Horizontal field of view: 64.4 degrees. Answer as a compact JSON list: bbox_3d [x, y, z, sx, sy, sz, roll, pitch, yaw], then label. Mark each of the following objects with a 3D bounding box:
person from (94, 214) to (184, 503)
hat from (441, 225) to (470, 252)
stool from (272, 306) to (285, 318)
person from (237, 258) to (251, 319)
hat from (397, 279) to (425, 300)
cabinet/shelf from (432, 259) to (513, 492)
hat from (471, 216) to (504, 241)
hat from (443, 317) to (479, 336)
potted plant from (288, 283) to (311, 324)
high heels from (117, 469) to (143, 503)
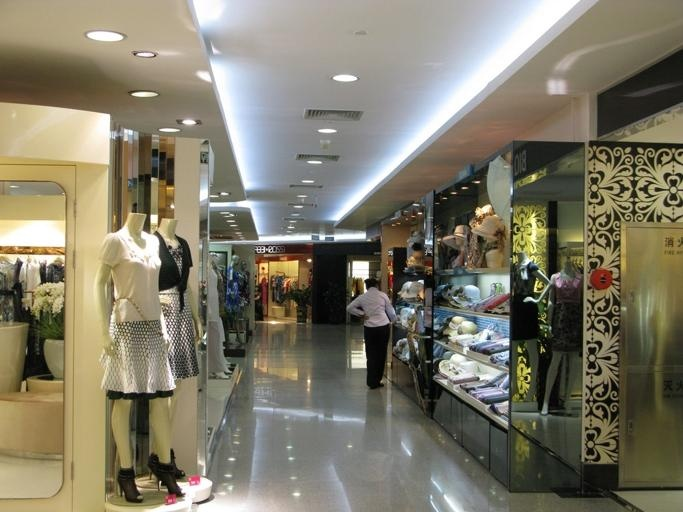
[{"bbox_3d":[-1.522,0.762,4.090,0.653,2.176,0.397,2,-3,-31],"label":"person"},{"bbox_3d":[1.429,-0.226,6.716,0.164,0.312,0.630,1,-2,-17],"label":"hat"},{"bbox_3d":[-2.982,2.673,25.926,0.553,0.423,0.577,-1,-5,16],"label":"stool"},{"bbox_3d":[-2.814,0.999,15.638,0.509,1.669,0.350,9,-15,-43],"label":"person"},{"bbox_3d":[1.180,0.561,9.033,0.406,0.247,0.604,-1,-4,7],"label":"hat"},{"bbox_3d":[1.460,1.100,5.945,0.664,1.962,2.339,1,-2,3],"label":"cabinet/shelf"},{"bbox_3d":[1.580,-0.308,5.773,0.254,0.140,0.250,-7,8,-36],"label":"hat"},{"bbox_3d":[1.450,0.888,6.617,0.190,0.192,0.299,2,10,-30],"label":"hat"},{"bbox_3d":[-1.699,2.046,23.333,1.341,1.661,1.213,0,-5,-5],"label":"potted plant"},{"bbox_3d":[-1.584,1.718,4.044,0.119,0.245,0.327,3,-5,-37],"label":"high heels"}]
